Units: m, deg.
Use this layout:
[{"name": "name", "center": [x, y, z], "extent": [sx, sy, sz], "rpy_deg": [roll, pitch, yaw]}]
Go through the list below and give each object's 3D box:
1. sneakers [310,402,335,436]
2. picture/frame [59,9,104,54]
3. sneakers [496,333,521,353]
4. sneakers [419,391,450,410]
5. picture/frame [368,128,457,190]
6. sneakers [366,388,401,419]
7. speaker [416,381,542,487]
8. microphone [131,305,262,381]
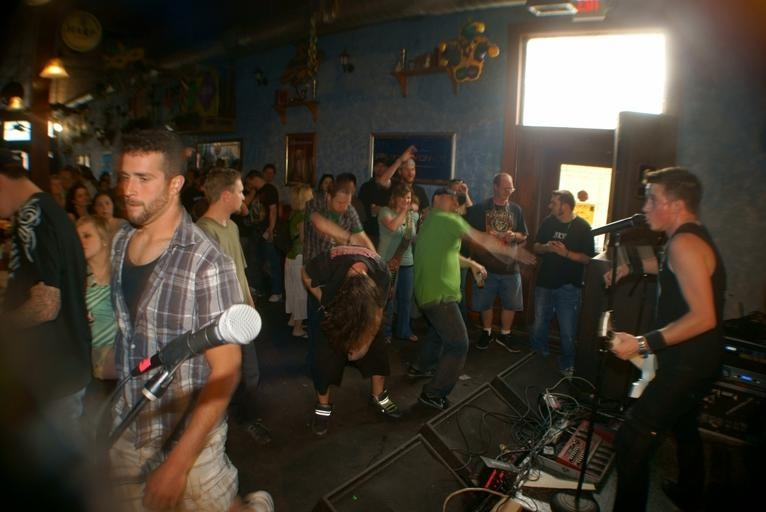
[{"name": "sneakers", "center": [-0.569, 1.515, 4.956], "extent": [0.125, 0.148, 0.353], "rpy_deg": [6, 21, -14]}, {"name": "picture/frame", "center": [-4.530, -3.410, 7.986], "extent": [0.547, 0.554, 0.312], "rpy_deg": [-4, 12, -15]}, {"name": "sneakers", "center": [1.568, 1.083, 6.737], "extent": [0.352, 0.168, 0.149], "rpy_deg": [13, 21, 40]}, {"name": "sneakers", "center": [0.515, 1.461, 5.403], "extent": [0.359, 0.148, 0.122], "rpy_deg": [7, 0, 11]}, {"name": "picture/frame", "center": [0.433, -1.472, 7.906], "extent": [1.409, 0.764, 0.062], "rpy_deg": [-3, 7, -20]}, {"name": "sneakers", "center": [0.021, 1.449, 5.273], "extent": [0.359, 0.156, 0.165], "rpy_deg": [12, 14, 44]}, {"name": "speaker", "center": [0.786, 1.534, 4.551], "extent": [0.578, 0.182, 0.879], "rpy_deg": [46, 43, 15]}, {"name": "microphone", "center": [-0.885, 0.418, 2.855], "extent": [0.836, 0.230, 0.244], "rpy_deg": [-24, 12, 13]}]
